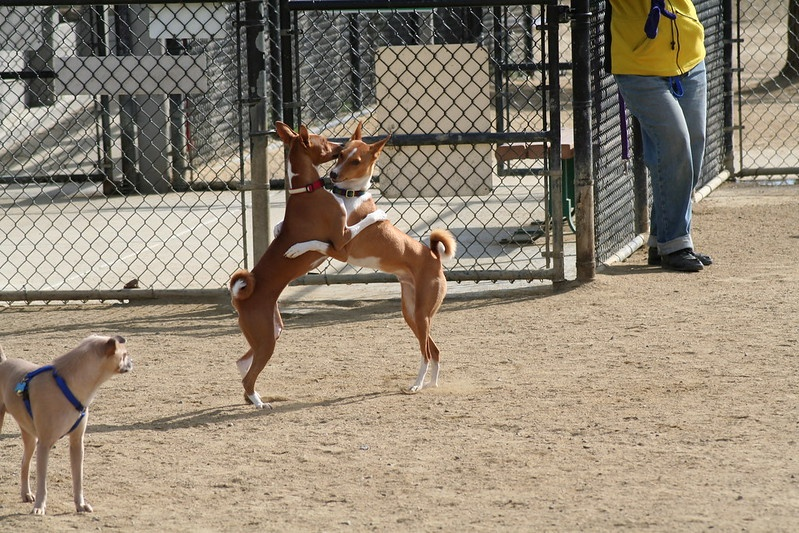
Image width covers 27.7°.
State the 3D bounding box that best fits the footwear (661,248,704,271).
[{"bbox_3d":[2.644,-0.062,15.317,0.404,0.211,0.166,0,3,37],"label":"footwear"}]

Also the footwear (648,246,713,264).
[{"bbox_3d":[2.665,-0.085,15.439,0.648,0.285,0.226,1,7,45],"label":"footwear"}]

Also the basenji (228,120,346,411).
[{"bbox_3d":[-0.906,-0.022,13.097,0.981,2.230,0.418,-3,6,-9],"label":"basenji"}]

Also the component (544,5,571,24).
[{"bbox_3d":[1.428,-2.276,14.680,0.170,0.159,0.263,4,10,43],"label":"component"}]
